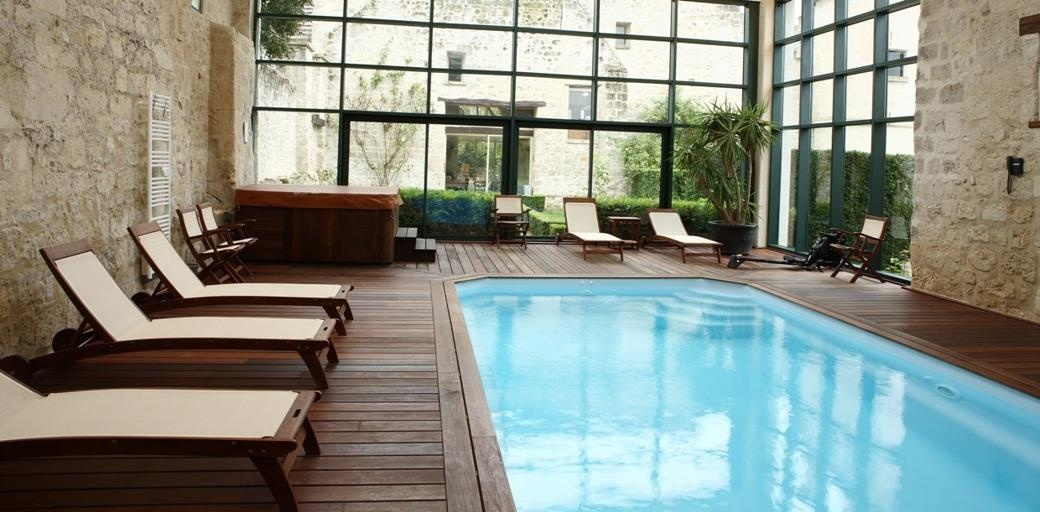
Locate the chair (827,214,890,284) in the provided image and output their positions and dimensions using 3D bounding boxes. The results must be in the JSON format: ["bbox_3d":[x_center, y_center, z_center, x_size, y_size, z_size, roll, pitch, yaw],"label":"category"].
[{"bbox_3d":[6.424,-0.147,11.909,0.973,1.059,0.832,-8,11,-8],"label":"chair"}]

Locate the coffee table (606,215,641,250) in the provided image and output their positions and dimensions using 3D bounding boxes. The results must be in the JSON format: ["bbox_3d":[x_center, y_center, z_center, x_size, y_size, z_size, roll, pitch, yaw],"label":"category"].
[{"bbox_3d":[2.786,-0.581,15.214,0.971,0.641,0.916,2,6,14],"label":"coffee table"}]

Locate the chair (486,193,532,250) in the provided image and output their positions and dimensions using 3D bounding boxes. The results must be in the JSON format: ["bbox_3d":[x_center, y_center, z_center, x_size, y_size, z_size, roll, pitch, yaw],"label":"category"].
[{"bbox_3d":[-0.191,-0.841,14.587,1.036,1.027,1.061,-9,18,-40],"label":"chair"}]
